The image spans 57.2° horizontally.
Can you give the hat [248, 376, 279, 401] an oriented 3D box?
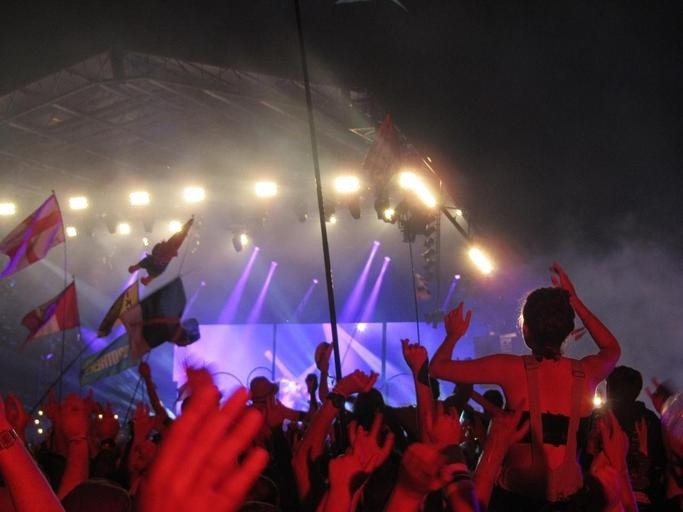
[{"bbox_3d":[-1.101,1.878,8.860,0.365,0.247,0.271,-10,8,-20],"label":"hat"}]
